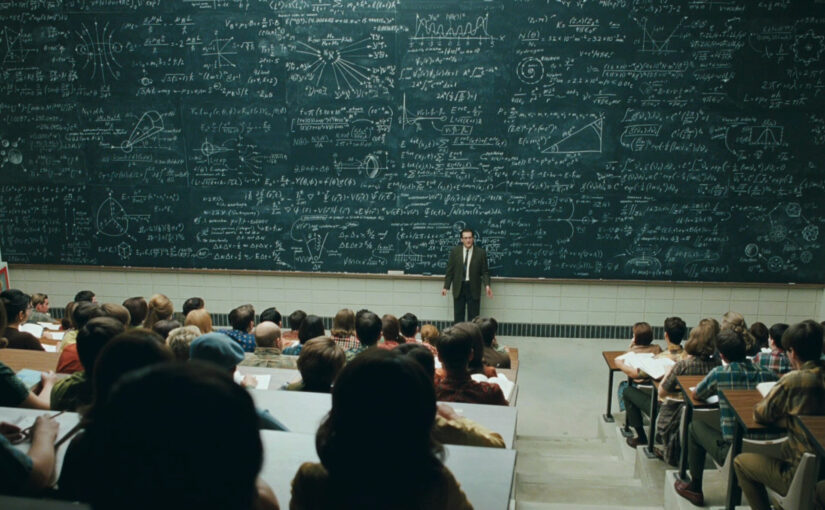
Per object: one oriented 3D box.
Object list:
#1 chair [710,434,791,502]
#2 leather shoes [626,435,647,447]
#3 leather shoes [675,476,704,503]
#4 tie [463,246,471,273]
[{"bbox_3d":[2.764,1.794,5.785,0.605,0.703,0.567,0,-1,8],"label":"chair"},{"bbox_3d":[2.146,1.811,6.524,0.152,0.053,0.084,-1,2,20],"label":"leather shoes"},{"bbox_3d":[2.326,1.992,5.706,0.119,0.099,0.256,-8,15,-13],"label":"leather shoes"},{"bbox_3d":[0.697,0.058,8.538,0.111,0.315,0.036,1,4,5],"label":"tie"}]
